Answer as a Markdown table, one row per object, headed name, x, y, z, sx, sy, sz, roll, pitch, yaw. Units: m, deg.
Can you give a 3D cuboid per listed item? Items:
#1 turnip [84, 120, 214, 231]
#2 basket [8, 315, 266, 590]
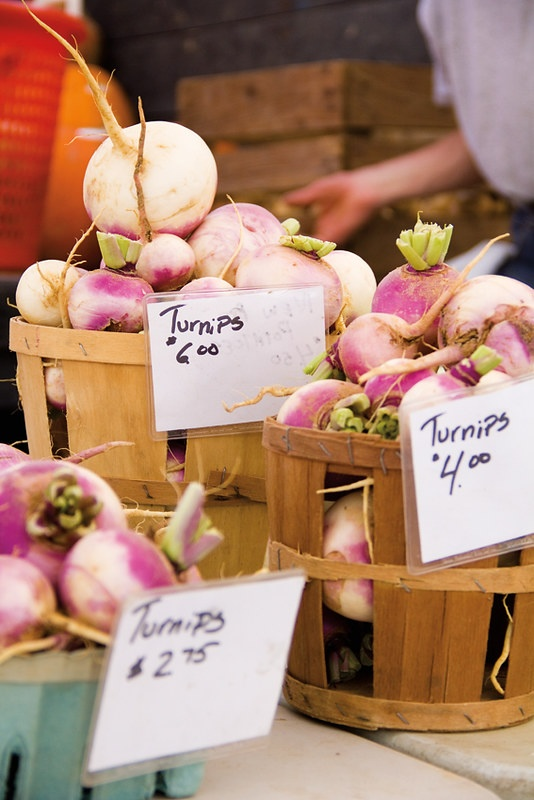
| name | x | y | z | sx | sy | sz | roll | pitch | yaw |
| --- | --- | --- | --- | --- | --- | --- | --- | --- | --- |
| turnip | -0.134 | -0.271 | 0.942 | 0.132 | 0.139 | 0.162 | -3 | 3 | -1 |
| basket | -0.139 | 0.046 | 0.892 | 0.299 | 0.239 | 0.316 | 0 | 3 | -4 |
